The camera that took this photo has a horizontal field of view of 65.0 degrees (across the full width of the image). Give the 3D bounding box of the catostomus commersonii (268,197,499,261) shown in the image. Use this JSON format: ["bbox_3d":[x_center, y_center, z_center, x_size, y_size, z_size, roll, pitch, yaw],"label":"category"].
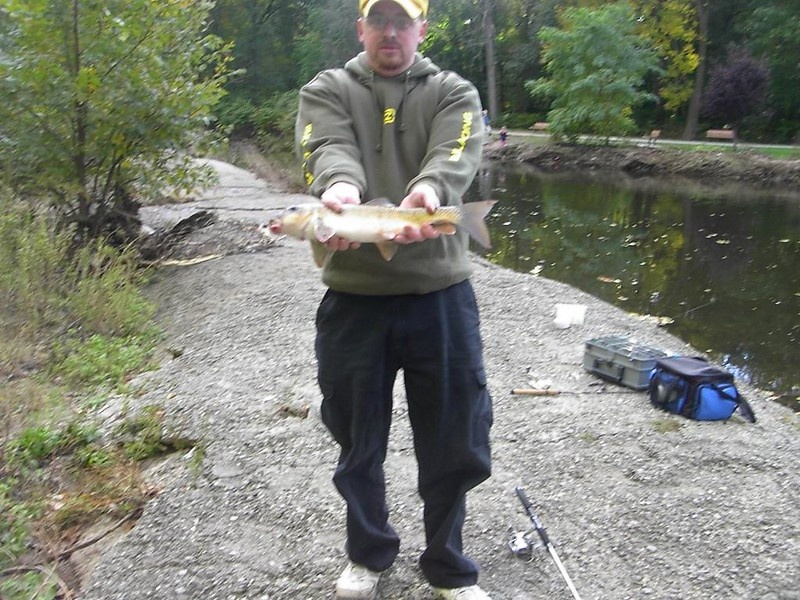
[{"bbox_3d":[-0.107,-0.348,3.473,1.214,0.436,0.355,3,16,5],"label":"catostomus commersonii"}]

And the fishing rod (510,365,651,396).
[{"bbox_3d":[1.701,0.895,6.272,1.215,0.065,0.245,0,15,-4],"label":"fishing rod"}]

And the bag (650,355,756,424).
[{"bbox_3d":[2.796,0.809,5.828,0.780,0.384,0.599,0,9,-11],"label":"bag"}]

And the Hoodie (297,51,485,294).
[{"bbox_3d":[-0.059,-0.743,3.779,1.109,1.435,0.878,0,16,-27],"label":"Hoodie"}]

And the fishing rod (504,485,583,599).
[{"bbox_3d":[0.917,1.683,4.393,0.346,0.255,0.966,-2,15,-11],"label":"fishing rod"}]
